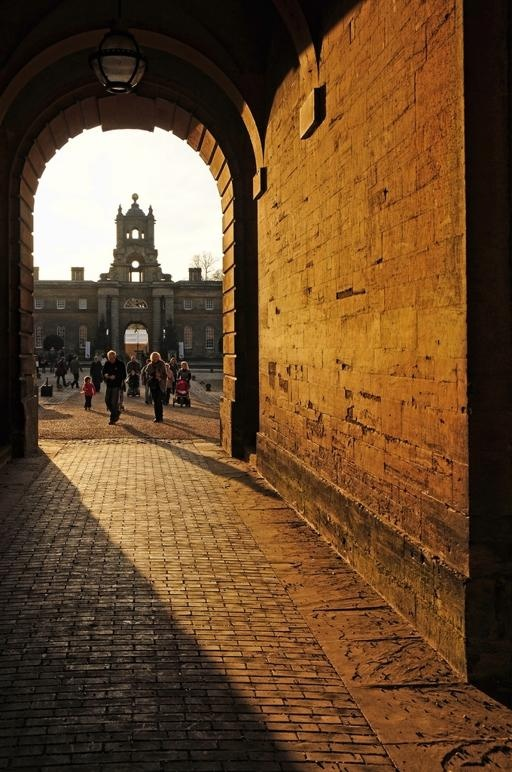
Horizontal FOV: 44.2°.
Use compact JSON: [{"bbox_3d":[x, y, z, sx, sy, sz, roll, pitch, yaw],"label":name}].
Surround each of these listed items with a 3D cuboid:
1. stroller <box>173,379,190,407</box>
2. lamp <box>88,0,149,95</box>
[{"bbox_3d":[-2.531,0.302,21.442,0.379,0.700,1.014,0,-7,-3],"label":"stroller"},{"bbox_3d":[-1.278,-3.233,5.854,0.487,0.891,0.501,0,1,-17],"label":"lamp"}]
